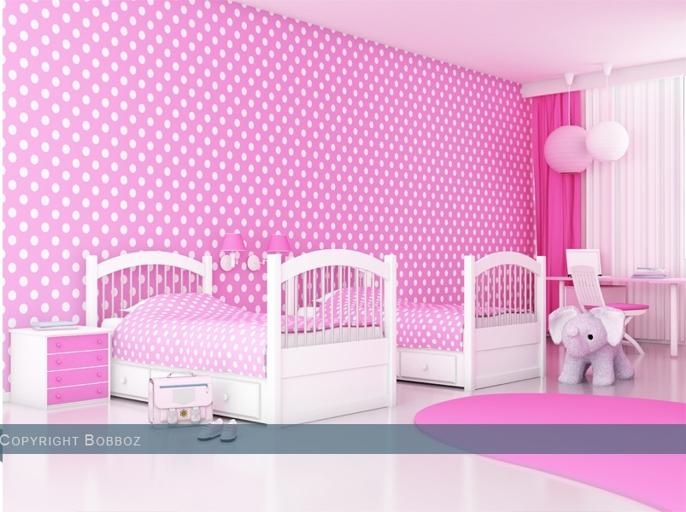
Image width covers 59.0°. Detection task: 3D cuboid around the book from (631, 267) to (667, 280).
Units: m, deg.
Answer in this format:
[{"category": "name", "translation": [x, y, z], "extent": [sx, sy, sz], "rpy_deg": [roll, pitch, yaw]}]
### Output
[{"category": "book", "translation": [3.563, 0.201, 7.069], "extent": [0.355, 0.159, 0.256], "rpy_deg": [-6, -9, 28]}]

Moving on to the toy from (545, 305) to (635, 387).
[{"category": "toy", "translation": [2.257, 0.788, 5.480], "extent": [0.603, 0.716, 0.783], "rpy_deg": [-3, 3, 38]}]
